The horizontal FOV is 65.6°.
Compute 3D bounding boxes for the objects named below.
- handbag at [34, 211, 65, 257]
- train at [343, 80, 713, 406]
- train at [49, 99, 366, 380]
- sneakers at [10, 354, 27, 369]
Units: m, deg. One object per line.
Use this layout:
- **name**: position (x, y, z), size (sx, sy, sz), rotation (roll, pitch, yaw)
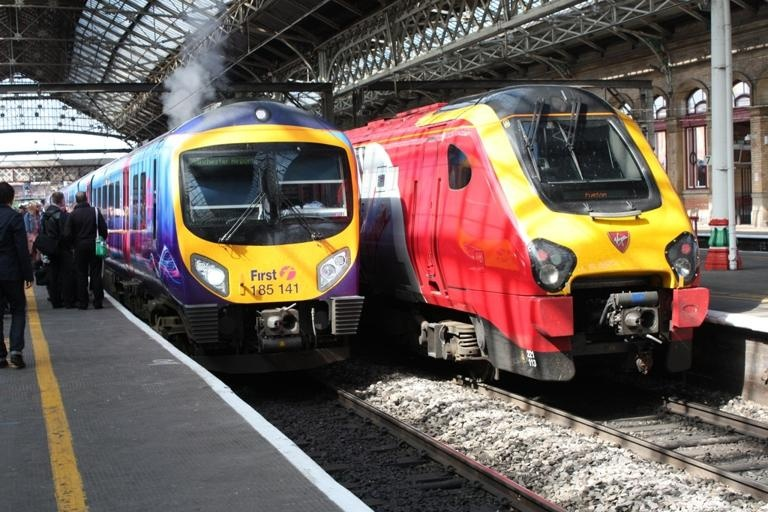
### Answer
- **handbag**: position (-6.733, -0.439, 12.237), size (0.277, 0.919, 0.684), rotation (5, 2, -13)
- **train**: position (1.395, -0.546, 13.322), size (3.288, 4.224, 12.250), rotation (-2, 2, -17)
- **train**: position (-2.942, -0.337, 9.913), size (5.048, 4.174, 2.175), rotation (2, 7, 37)
- **sneakers**: position (-4.804, 1.399, 7.859), size (0.132, 0.149, 0.328), rotation (-1, 5, -6)
